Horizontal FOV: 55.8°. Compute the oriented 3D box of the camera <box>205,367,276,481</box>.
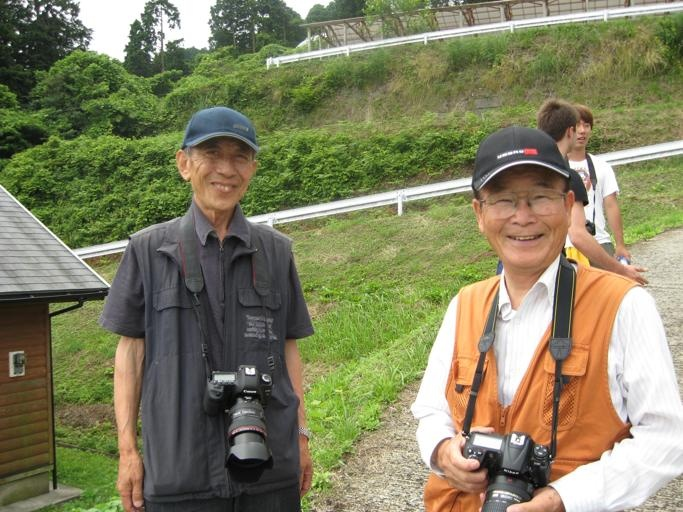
[{"bbox_3d":[-0.549,0.932,3.592,0.368,0.290,0.611,1,44,-25],"label":"camera"}]
